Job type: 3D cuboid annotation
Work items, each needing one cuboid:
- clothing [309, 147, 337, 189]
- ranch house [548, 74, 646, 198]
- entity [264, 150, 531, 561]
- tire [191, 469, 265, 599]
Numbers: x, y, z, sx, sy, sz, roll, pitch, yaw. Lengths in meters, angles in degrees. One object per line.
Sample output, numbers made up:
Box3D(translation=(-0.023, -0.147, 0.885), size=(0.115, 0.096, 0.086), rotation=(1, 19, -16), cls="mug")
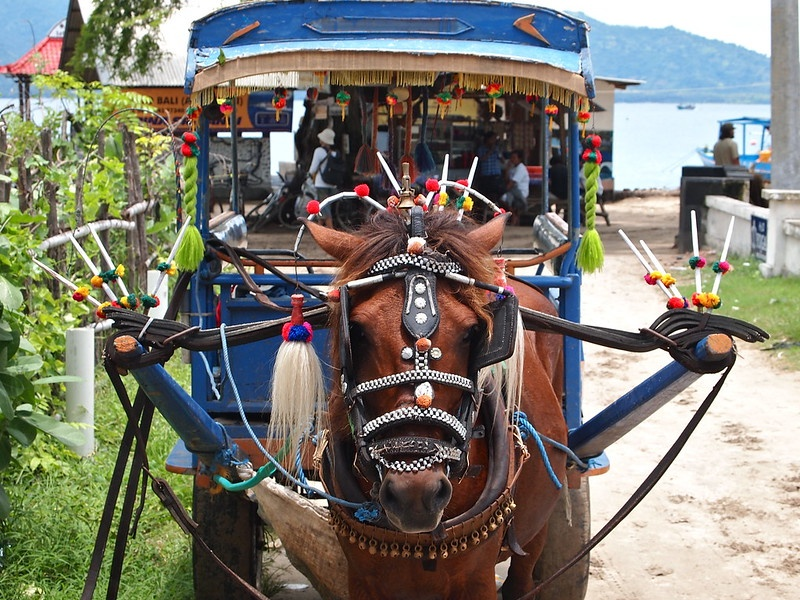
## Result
Box3D(translation=(-0.798, -1.372, 13.152), size=(0.246, 0.477, 0.326), rotation=(-7, -18, 40), cls="clothing")
Box3D(translation=(4.743, -3.458, 30.405), size=(1.751, 3.056, 2.596), rotation=(2, -32, 5), cls="ranch house")
Box3D(translation=(0.051, 0.518, 8.000), size=(1.571, 2.232, 1.162), rotation=(4, 9, 7), cls="entity")
Box3D(translation=(-1.264, 1.672, 8.984), size=(0.292, 1.050, 0.928), rotation=(0, 3, 6), cls="tire")
